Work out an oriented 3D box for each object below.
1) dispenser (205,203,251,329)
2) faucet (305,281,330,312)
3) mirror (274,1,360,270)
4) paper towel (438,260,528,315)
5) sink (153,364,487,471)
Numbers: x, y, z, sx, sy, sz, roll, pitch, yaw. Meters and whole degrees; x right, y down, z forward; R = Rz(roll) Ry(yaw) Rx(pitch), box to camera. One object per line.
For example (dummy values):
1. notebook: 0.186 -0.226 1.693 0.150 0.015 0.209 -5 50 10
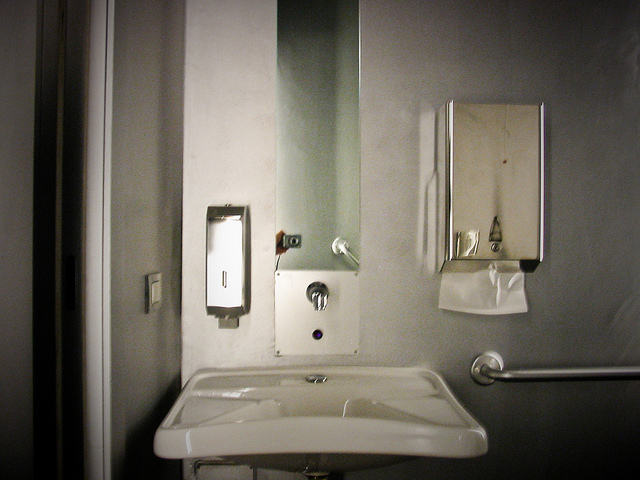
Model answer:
1. dispenser: -0.355 0.089 2.253 0.189 0.456 0.063 1 3 -6
2. faucet: -0.009 0.213 2.290 0.096 0.098 0.077 -2 7 -2
3. mirror: -0.012 -0.398 2.309 0.350 1.033 0.121 -2 7 2
4. paper towel: 0.654 0.183 2.351 0.338 0.225 0.031 2 4 1
5. sink: 0.016 0.614 2.163 1.111 0.203 0.436 -1 7 2
